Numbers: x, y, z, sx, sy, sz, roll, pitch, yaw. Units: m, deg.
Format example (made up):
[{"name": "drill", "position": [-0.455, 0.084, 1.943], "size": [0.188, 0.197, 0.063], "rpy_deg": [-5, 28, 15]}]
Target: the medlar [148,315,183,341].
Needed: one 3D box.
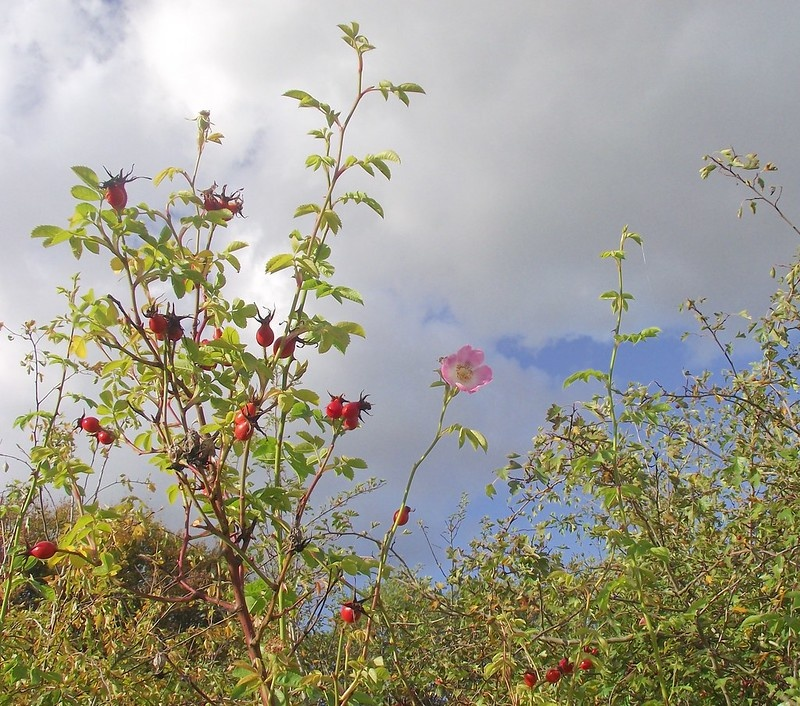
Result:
[{"name": "medlar", "position": [-1.072, -0.115, 4.311], "size": [0.064, 0.118, 0.116], "rpy_deg": [-6, -63, -49]}]

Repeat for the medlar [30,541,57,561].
[{"name": "medlar", "position": [-1.757, 0.974, 4.610], "size": [0.123, 0.077, 0.083], "rpy_deg": [-5, -14, 26]}]

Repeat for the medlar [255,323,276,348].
[{"name": "medlar", "position": [-0.553, -0.066, 3.845], "size": [0.061, 0.070, 0.095], "rpy_deg": [-2, -71, -11]}]
